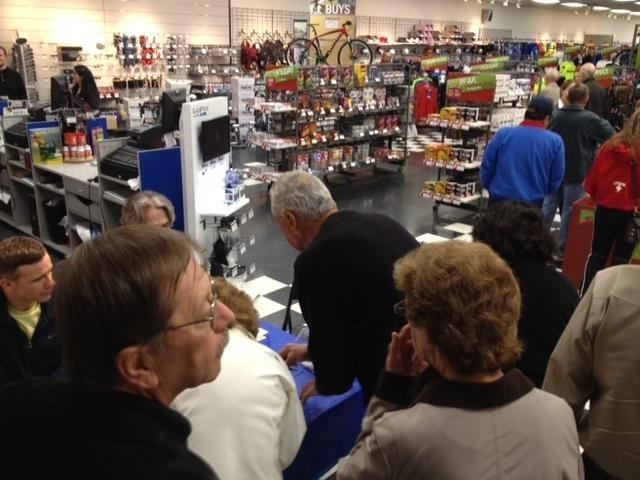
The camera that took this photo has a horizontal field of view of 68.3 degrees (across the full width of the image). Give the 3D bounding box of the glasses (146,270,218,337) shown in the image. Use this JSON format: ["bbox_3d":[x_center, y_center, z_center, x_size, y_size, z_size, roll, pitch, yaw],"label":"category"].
[{"bbox_3d":[-0.266,0.122,0.927,0.105,0.037,0.108,-3,20,14],"label":"glasses"}]

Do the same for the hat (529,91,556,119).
[{"bbox_3d":[2.371,-1.419,5.025,0.213,0.181,0.313,14,50,24],"label":"hat"}]

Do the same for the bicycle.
[{"bbox_3d":[0.262,-4.213,10.394,2.413,1.530,1.057,-2,25,-4],"label":"bicycle"}]

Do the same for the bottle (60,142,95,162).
[{"bbox_3d":[-3.137,-1.103,6.072,0.255,0.217,0.270,0,4,1],"label":"bottle"}]
